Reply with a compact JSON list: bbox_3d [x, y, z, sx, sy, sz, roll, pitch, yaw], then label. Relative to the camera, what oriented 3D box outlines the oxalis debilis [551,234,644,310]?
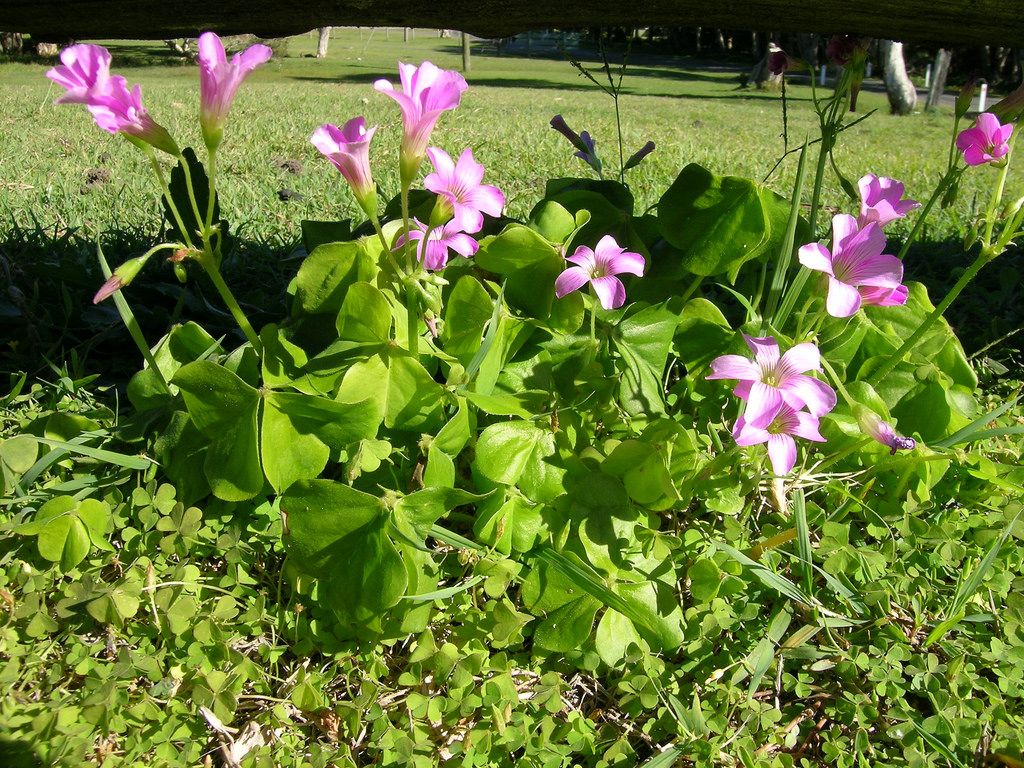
[{"bbox_3d":[0.159,-0.213,1.504,0.153,0.061,0.152,34,70,19],"label":"oxalis debilis"}]

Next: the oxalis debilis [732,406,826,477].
[{"bbox_3d":[0.420,0.109,1.317,0.145,0.147,0.066,-7,27,-21],"label":"oxalis debilis"}]

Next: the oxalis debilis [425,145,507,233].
[{"bbox_3d":[-0.072,-0.358,1.497,0.103,0.162,0.154,-23,-2,40],"label":"oxalis debilis"}]

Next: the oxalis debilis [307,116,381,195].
[{"bbox_3d":[-0.256,-0.364,1.375,0.099,0.129,0.117,-1,39,21],"label":"oxalis debilis"}]

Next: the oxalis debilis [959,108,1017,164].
[{"bbox_3d":[0.935,-0.484,1.603,0.094,0.115,0.192,19,30,31],"label":"oxalis debilis"}]

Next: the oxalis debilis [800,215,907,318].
[{"bbox_3d":[0.566,-0.191,1.406,0.193,0.080,0.186,-11,70,-8],"label":"oxalis debilis"}]

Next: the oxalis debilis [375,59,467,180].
[{"bbox_3d":[-0.143,-0.443,1.369,0.118,0.187,0.121,1,25,-4],"label":"oxalis debilis"}]

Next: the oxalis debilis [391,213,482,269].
[{"bbox_3d":[-0.145,-0.262,1.488,0.158,0.034,0.160,-11,-18,15],"label":"oxalis debilis"}]
